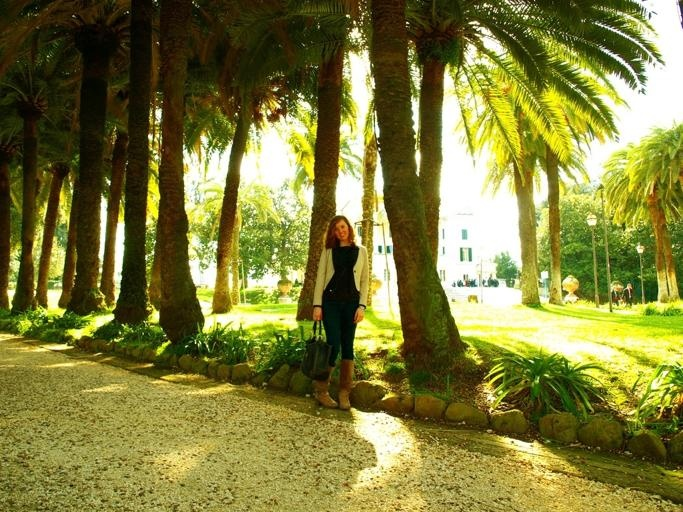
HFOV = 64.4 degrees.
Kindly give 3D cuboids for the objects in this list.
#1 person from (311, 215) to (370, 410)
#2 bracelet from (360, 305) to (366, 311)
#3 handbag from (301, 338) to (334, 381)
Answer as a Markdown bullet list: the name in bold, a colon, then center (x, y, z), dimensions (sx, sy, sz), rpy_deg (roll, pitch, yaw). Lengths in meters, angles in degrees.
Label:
- **person**: center (-0.005, 0.771, 7.604), dimensions (0.763, 2.569, 0.825), rpy_deg (0, 12, 1)
- **bracelet**: center (0.304, 0.724, 7.488), dimensions (0.062, 0.030, 0.073), rpy_deg (7, -9, 15)
- **handbag**: center (-0.379, 1.466, 7.554), dimensions (0.326, 0.626, 0.587), rpy_deg (10, -14, -22)
